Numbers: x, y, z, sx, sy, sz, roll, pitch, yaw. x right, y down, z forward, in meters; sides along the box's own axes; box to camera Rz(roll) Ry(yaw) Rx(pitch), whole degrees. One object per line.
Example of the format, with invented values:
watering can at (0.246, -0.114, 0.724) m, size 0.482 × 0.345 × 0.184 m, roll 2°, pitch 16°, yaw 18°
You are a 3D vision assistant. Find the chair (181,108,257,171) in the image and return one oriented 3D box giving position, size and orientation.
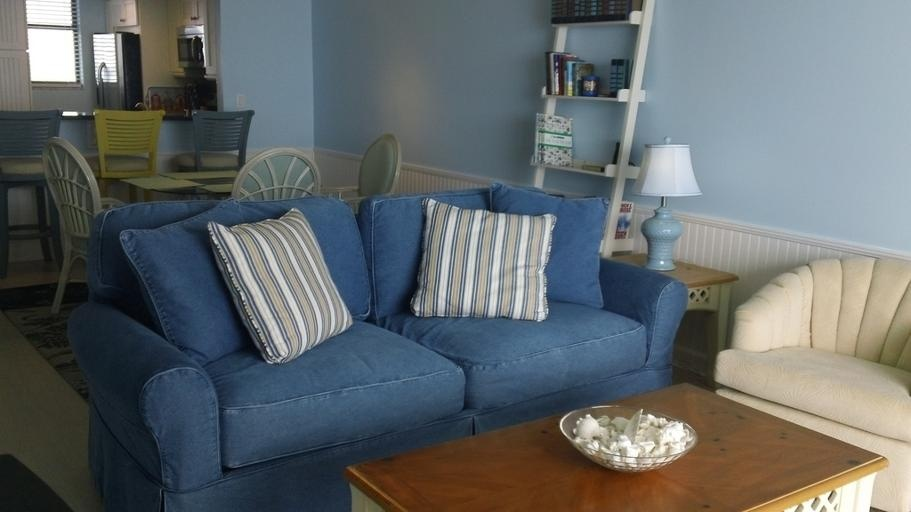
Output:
chair at (-2.177, -1.035, 6.172) m, size 0.481 × 0.591 × 0.626 m, roll -11°, pitch 21°, yaw -31°

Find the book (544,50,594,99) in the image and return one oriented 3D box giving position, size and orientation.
book at (0.865, -1.364, 5.153) m, size 0.441 × 0.382 × 0.251 m, roll -4°, pitch 11°, yaw -34°

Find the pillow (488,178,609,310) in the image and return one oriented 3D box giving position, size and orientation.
pillow at (0.557, -0.011, 4.198) m, size 0.903 × 0.755 × 0.325 m, roll 0°, pitch 5°, yaw -32°

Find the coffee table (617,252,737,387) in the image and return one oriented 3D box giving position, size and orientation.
coffee table at (1.700, 0.360, 4.956) m, size 0.924 × 0.793 × 0.882 m, roll -3°, pitch 14°, yaw -27°

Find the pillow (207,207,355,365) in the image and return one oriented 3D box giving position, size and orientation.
pillow at (-0.887, 0.110, 3.566) m, size 1.053 × 0.868 × 0.269 m, roll -6°, pitch 11°, yaw 33°

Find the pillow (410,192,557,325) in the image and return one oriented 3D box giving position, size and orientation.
pillow at (0.151, 0.038, 3.811) m, size 0.817 × 0.640 × 0.225 m, roll 4°, pitch -6°, yaw -5°

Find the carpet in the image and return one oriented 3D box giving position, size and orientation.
carpet at (-2.631, 0.640, 4.358) m, size 0.713 × 0.009 × 0.237 m, roll 23°, pitch 24°, yaw 39°

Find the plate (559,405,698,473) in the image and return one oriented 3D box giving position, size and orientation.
plate at (0.768, 0.729, 2.938) m, size 0.384 × 0.131 × 0.346 m, roll 0°, pitch 5°, yaw -20°

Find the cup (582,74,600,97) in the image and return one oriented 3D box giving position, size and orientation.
cup at (1.000, -1.261, 5.056) m, size 0.165 × 0.164 × 0.154 m, roll 0°, pitch 15°, yaw 0°

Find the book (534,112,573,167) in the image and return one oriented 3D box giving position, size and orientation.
book at (0.751, -0.894, 5.279) m, size 0.422 × 0.371 × 0.112 m, roll 3°, pitch 5°, yaw -22°

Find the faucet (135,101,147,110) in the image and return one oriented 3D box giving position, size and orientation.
faucet at (-4.173, -1.964, 8.953) m, size 0.123 × 0.092 × 0.639 m, roll -8°, pitch 19°, yaw -26°

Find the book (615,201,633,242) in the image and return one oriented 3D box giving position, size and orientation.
book at (1.214, -0.242, 4.932) m, size 0.182 × 0.295 × 0.031 m, roll -5°, pitch 14°, yaw -32°

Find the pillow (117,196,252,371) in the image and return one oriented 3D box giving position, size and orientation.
pillow at (-1.336, 0.162, 3.378) m, size 0.221 × 0.653 × 0.740 m, roll -14°, pitch 4°, yaw 34°
